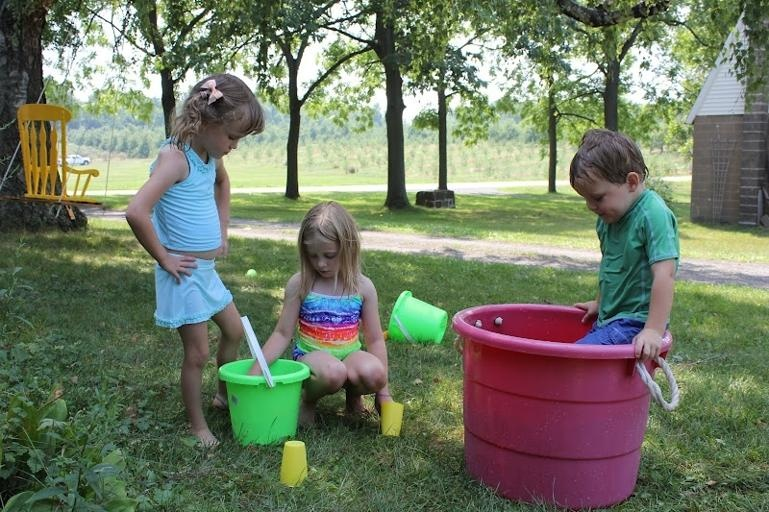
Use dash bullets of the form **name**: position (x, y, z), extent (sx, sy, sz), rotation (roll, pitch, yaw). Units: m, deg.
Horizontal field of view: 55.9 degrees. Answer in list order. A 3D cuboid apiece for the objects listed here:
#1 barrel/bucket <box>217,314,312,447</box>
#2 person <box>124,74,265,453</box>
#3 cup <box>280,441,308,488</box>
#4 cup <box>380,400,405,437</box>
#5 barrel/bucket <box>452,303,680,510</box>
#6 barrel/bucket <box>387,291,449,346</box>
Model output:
- **barrel/bucket**: position (-0.953, 0.949, 5.463), extent (0.611, 0.684, 0.869), rotation (0, 0, -23)
- **person**: position (-1.337, -0.023, 5.165), extent (0.930, 2.530, 0.413), rotation (-3, 9, -22)
- **cup**: position (-0.613, 1.372, 4.899), extent (0.189, 0.270, 0.207), rotation (0, 8, 0)
- **cup**: position (0.077, 1.173, 5.322), extent (0.193, 0.245, 0.212), rotation (1, -14, 2)
- **barrel/bucket**: position (1.219, 0.915, 4.990), extent (1.300, 1.050, 1.365), rotation (0, -1, 0)
- **barrel/bucket**: position (0.318, 0.702, 7.070), extent (0.420, 0.495, 0.513), rotation (15, -32, 7)
